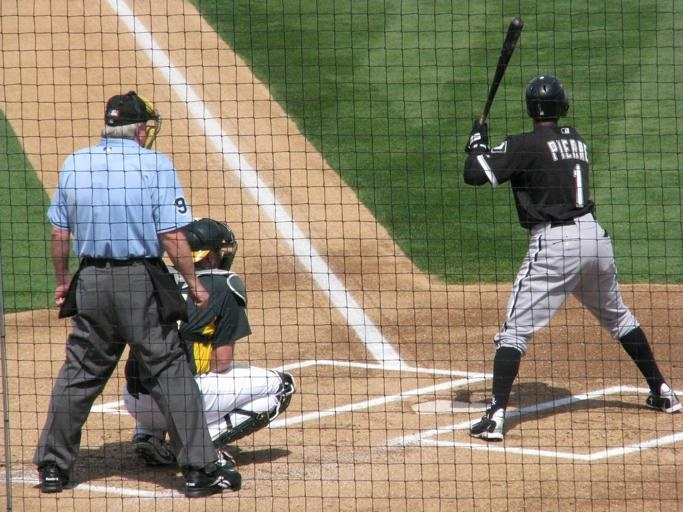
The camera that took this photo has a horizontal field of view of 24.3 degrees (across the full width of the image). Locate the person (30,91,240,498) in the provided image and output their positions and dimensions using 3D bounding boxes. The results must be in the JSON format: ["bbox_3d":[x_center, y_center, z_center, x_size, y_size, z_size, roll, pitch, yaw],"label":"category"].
[{"bbox_3d":[-2.108,0.377,14.844,1.695,3.724,1.057,-4,12,-5],"label":"person"}]

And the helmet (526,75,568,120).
[{"bbox_3d":[2.037,-1.585,15.979,0.420,0.358,0.521,3,9,21],"label":"helmet"}]

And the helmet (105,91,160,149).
[{"bbox_3d":[-2.018,-1.295,15.164,0.588,0.448,0.427,-1,19,-15],"label":"helmet"}]

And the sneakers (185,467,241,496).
[{"bbox_3d":[-1.209,2.118,14.792,0.487,0.163,0.255,-6,13,-15],"label":"sneakers"}]

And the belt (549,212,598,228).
[{"bbox_3d":[2.282,-0.372,15.670,0.501,0.185,0.124,-5,12,-18],"label":"belt"}]

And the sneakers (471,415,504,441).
[{"bbox_3d":[1.403,1.686,15.479,0.323,0.250,0.140,-1,12,2],"label":"sneakers"}]
